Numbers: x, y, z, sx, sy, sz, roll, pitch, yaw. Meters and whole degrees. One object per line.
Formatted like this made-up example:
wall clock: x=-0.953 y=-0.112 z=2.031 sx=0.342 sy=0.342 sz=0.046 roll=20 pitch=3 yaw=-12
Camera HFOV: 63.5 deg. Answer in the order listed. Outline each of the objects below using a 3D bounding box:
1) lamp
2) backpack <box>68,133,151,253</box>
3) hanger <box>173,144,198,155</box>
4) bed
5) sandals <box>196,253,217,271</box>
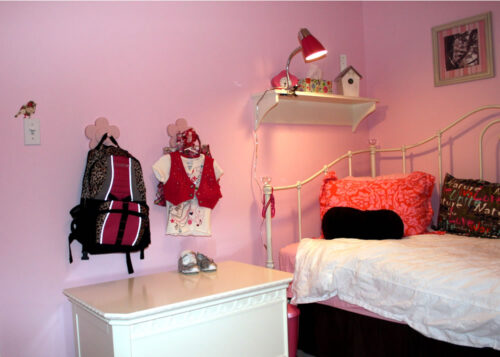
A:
lamp: x=0.380 y=-0.803 z=2.698 sx=0.282 sy=0.317 sz=0.563 roll=-2 pitch=0 yaw=5
backpack: x=-0.789 y=0.144 z=2.276 sx=0.426 sy=0.643 sz=0.133 roll=-2 pitch=1 yaw=-25
hanger: x=-0.390 y=-0.180 z=2.537 sx=0.103 sy=0.044 sz=0.063 roll=-2 pitch=-6 yaw=-12
bed: x=0.931 y=0.297 z=3.110 sx=1.366 sy=0.871 sz=1.384 roll=-12 pitch=8 yaw=0
sandals: x=-0.263 y=0.499 z=2.429 sx=0.071 sy=0.058 sz=0.136 roll=-1 pitch=4 yaw=-35
